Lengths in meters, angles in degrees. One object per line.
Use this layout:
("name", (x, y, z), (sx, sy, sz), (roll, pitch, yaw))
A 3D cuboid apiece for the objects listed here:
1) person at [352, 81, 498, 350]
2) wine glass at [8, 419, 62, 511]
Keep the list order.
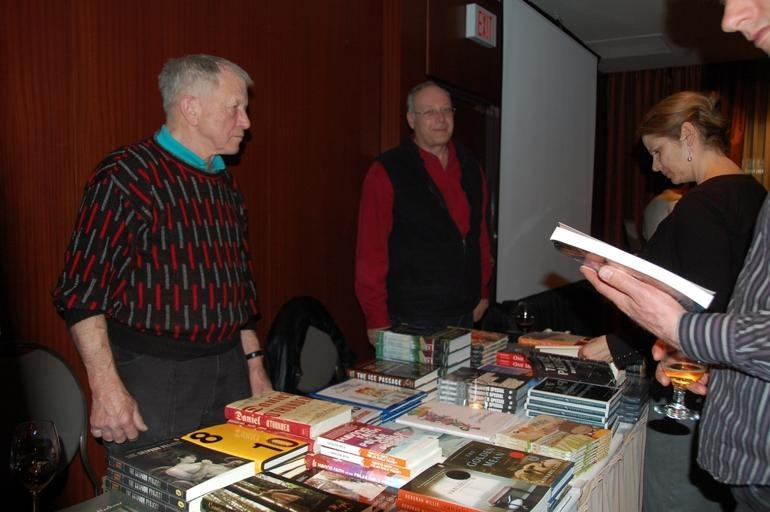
("person", (0.228, -0.294, 3.402), (0.992, 1.476, 0.407), (-11, 10, -36))
("wine glass", (-1.222, 0.726, 1.996), (0.151, 0.301, 0.205), (-11, 10, -37))
